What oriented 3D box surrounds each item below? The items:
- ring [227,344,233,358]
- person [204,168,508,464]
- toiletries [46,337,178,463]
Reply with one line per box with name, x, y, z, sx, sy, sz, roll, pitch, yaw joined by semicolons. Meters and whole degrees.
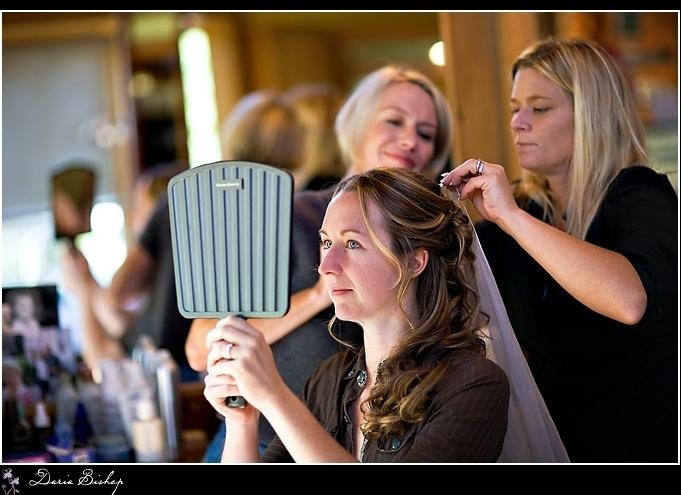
ring;-0.251;0.231;1.469;0.009;0.025;0.021;1;-4;-5
person;-0.072;0.176;1.902;0.768;0.971;0.656;4;-5;-15
toiletries;-0.739;0.582;2.318;0.283;0.325;0.344;-12;17;-41
